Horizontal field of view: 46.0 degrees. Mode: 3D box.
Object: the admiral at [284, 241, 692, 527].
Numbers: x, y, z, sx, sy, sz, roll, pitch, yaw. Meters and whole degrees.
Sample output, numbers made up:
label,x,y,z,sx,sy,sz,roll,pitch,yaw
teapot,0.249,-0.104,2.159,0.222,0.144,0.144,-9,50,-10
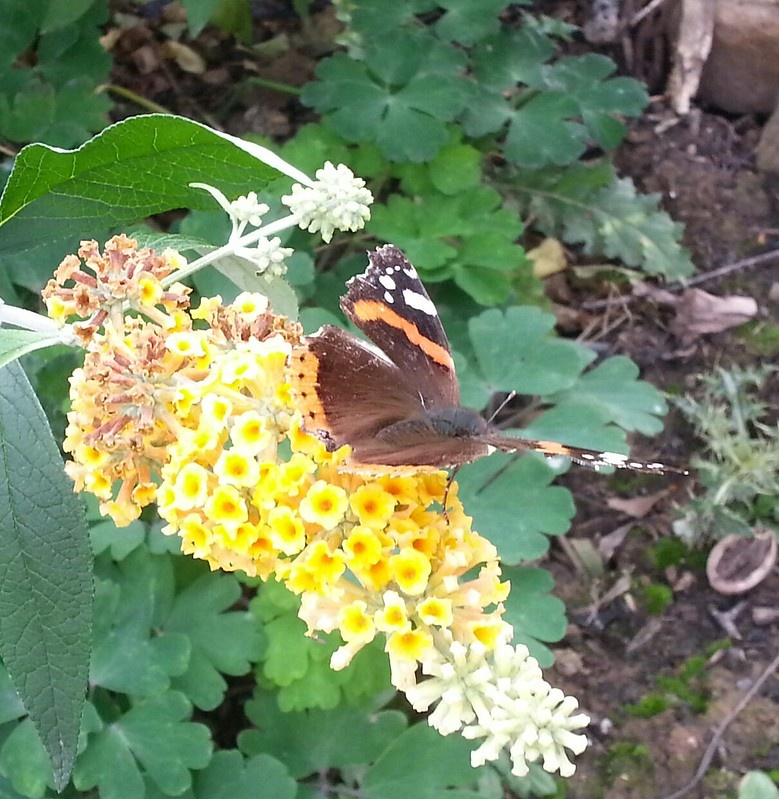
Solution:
label,x,y,z,sx,sy,sz,roll,pitch,yaw
admiral,0.136,-0.111,2.051,0.706,0.286,0.701,37,32,9
